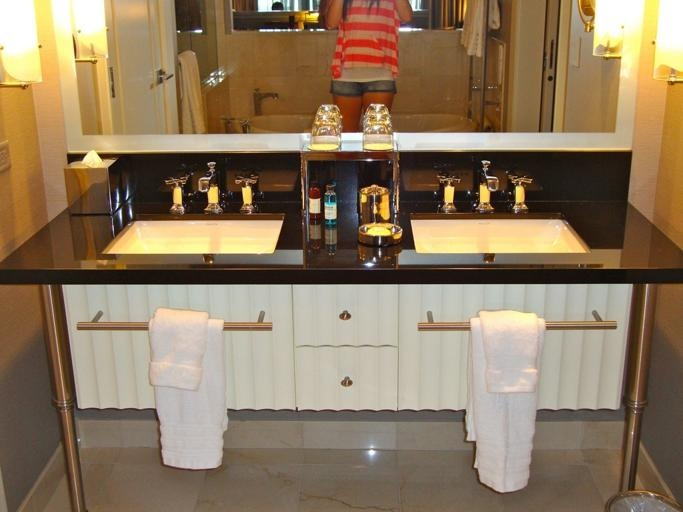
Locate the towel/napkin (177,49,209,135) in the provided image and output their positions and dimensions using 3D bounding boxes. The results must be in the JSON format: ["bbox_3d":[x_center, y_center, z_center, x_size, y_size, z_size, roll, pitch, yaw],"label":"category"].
[{"bbox_3d":[-0.645,-0.645,2.531,0.058,0.357,0.190,-3,6,-24],"label":"towel/napkin"}]

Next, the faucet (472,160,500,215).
[{"bbox_3d":[0.582,-0.283,2.439,0.094,0.185,0.156,4,24,14],"label":"faucet"}]

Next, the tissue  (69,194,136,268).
[{"bbox_3d":[-0.858,-0.088,2.215,0.242,0.032,0.676,-10,25,-19],"label":"tissue "}]

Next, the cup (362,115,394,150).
[{"bbox_3d":[0.139,-0.482,2.363,0.124,0.122,0.127,0,18,0],"label":"cup"}]

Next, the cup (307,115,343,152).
[{"bbox_3d":[-0.066,-0.485,2.383,0.137,0.143,0.108,1,14,7],"label":"cup"}]

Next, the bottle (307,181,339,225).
[{"bbox_3d":[-0.077,-0.200,2.319,0.138,0.191,0.067,8,35,9],"label":"bottle"}]

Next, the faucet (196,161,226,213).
[{"bbox_3d":[-0.533,-0.280,2.457,0.090,0.176,0.177,-7,24,-12],"label":"faucet"}]

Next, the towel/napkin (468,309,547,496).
[{"bbox_3d":[0.563,0.495,2.142,0.242,0.618,0.231,17,29,37],"label":"towel/napkin"}]

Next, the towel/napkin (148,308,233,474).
[{"bbox_3d":[-0.537,0.471,2.191,0.275,0.592,0.184,-7,23,-12],"label":"towel/napkin"}]

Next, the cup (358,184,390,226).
[{"bbox_3d":[0.126,-0.198,2.301,0.106,0.165,0.098,-2,38,2],"label":"cup"}]

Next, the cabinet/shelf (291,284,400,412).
[{"bbox_3d":[0.022,0.298,2.443,0.437,0.667,0.431,0,21,2],"label":"cabinet/shelf"}]
